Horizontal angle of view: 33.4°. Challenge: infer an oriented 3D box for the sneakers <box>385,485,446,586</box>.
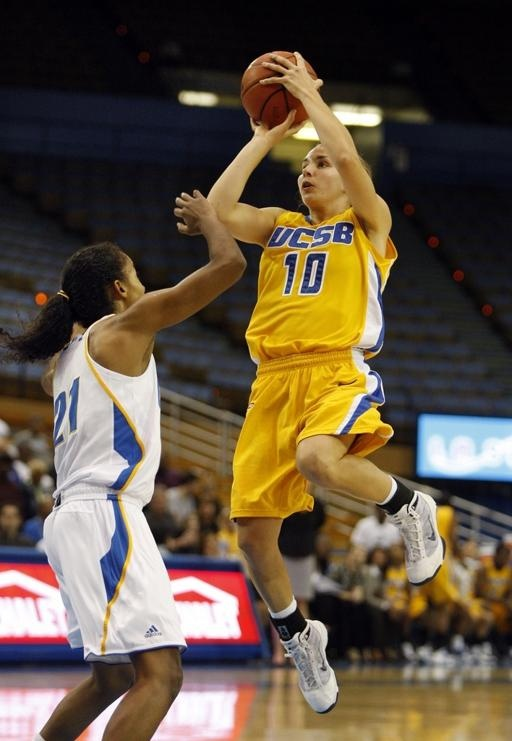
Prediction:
[{"bbox_3d":[0.641,0.646,3.246,0.161,0.398,0.212,-22,-18,30],"label":"sneakers"}]
